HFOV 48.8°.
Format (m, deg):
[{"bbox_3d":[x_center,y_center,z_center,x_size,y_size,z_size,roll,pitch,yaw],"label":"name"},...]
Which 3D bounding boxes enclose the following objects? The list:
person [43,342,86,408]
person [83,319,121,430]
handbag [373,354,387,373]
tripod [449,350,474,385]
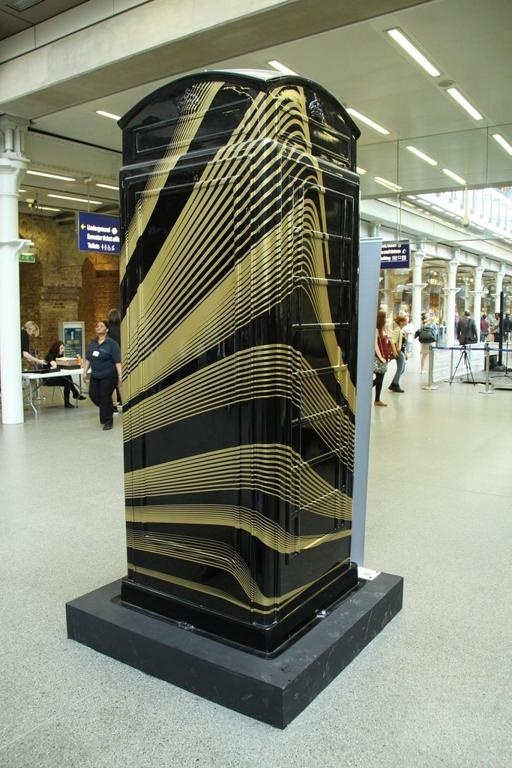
[{"bbox_3d":[-3.918,-0.224,11.608,0.826,1.306,2.468,0,3,-18],"label":"person"},{"bbox_3d":[-2.339,-0.134,8.635,0.494,1.638,0.840,0,2,-17],"label":"person"},{"bbox_3d":[2.235,-0.327,10.201,0.202,0.304,0.447,2,3,11],"label":"handbag"},{"bbox_3d":[5.825,-0.442,15.995,0.594,1.050,0.690,-21,28,-36],"label":"tripod"}]
